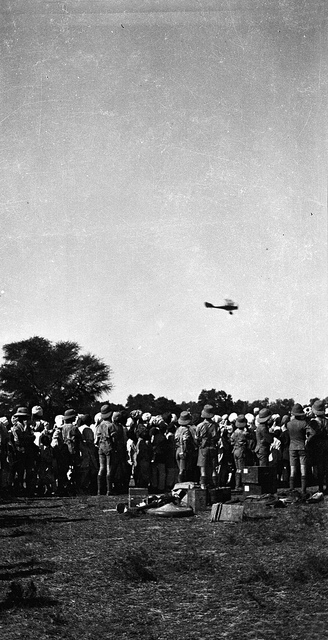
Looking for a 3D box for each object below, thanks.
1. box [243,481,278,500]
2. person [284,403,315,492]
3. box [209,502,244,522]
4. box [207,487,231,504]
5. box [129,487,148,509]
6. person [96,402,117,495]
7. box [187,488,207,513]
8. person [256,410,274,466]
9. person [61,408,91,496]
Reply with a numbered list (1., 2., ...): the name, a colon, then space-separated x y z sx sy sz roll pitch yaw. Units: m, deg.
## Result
1. box: 1.344 2.514 10.096 0.451 0.327 0.244 1 -6 -16
2. person: 1.964 1.896 10.506 0.412 1.355 0.899 0 -2 12
3. box: 0.703 2.236 8.276 0.276 0.221 0.074 1 -16 20
4. box: 0.688 2.274 9.266 0.330 0.230 0.185 6 -12 -40
5. box: -0.345 2.282 9.145 0.200 0.205 0.204 -1 4 -9
6. person: -0.886 1.987 10.847 0.299 1.392 0.512 1 -2 -5
7. box: 0.381 2.282 9.133 0.232 0.441 0.233 -1 2 -17
8. person: 1.525 1.849 11.203 0.234 0.902 0.629 1 -2 7
9. person: -1.440 2.246 11.607 0.403 1.176 0.464 0 -2 14
